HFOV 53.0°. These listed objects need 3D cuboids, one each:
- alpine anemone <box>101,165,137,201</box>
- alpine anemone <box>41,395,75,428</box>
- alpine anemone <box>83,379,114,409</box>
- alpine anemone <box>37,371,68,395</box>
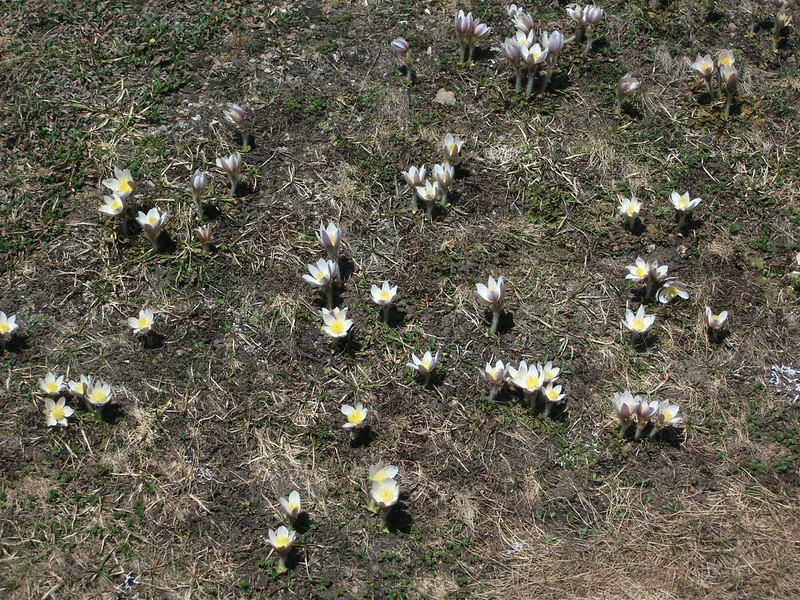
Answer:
[{"bbox_3d":[-2.340,-0.972,6.703,0.237,0.118,0.271,3,86,15],"label":"alpine anemone"},{"bbox_3d":[-2.646,0.856,6.191,0.236,0.125,0.211,2,70,3],"label":"alpine anemone"},{"bbox_3d":[-2.335,0.711,6.205,0.197,0.151,0.223,-1,70,2],"label":"alpine anemone"},{"bbox_3d":[-2.719,0.647,6.239,0.205,0.174,0.195,1,69,3],"label":"alpine anemone"}]
